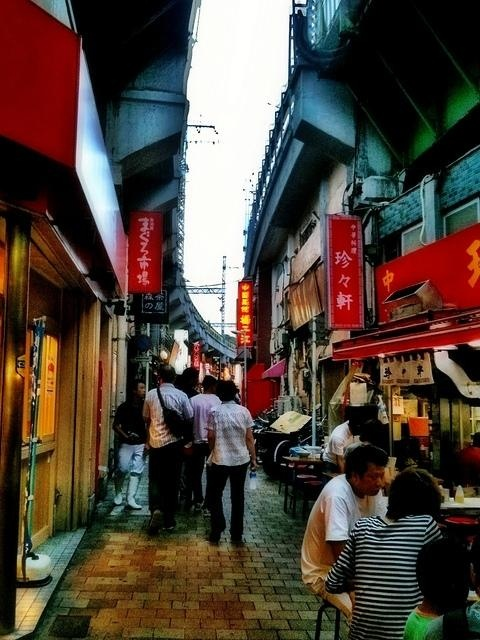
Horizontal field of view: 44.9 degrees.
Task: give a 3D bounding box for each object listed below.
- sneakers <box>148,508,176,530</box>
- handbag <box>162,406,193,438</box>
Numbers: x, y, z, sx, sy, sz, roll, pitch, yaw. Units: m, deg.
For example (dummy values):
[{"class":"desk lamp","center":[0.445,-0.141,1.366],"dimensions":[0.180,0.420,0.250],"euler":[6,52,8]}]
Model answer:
[{"class":"sneakers","center":[-0.997,2.570,7.388],"dimensions":[0.110,0.285,0.396],"euler":[-12,-16,30]},{"class":"handbag","center":[-0.796,1.334,7.491],"dimensions":[0.369,0.455,0.309],"euler":[1,-7,-3]}]
